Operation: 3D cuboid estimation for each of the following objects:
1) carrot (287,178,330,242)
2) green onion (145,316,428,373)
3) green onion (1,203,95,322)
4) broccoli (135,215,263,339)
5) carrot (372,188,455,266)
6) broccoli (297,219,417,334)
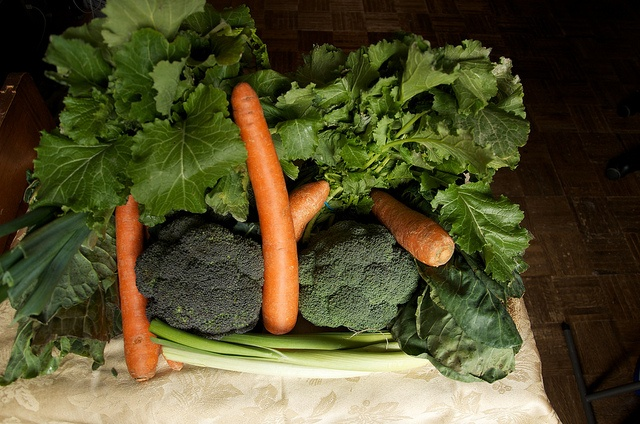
[{"bbox_3d":[-0.050,-0.008,2.241,0.144,0.086,0.257,31,91,23],"label":"carrot"},{"bbox_3d":[-0.137,0.583,2.213,1.119,0.184,0.170,3,92,0],"label":"green onion"},{"bbox_3d":[-1.035,0.176,1.976,0.148,0.222,0.398,24,54,14],"label":"green onion"},{"bbox_3d":[-0.462,0.261,2.132,0.476,0.128,0.463,-6,95,-5],"label":"broccoli"},{"bbox_3d":[0.375,0.064,2.289,0.182,0.163,0.534,-17,31,-20],"label":"carrot"},{"bbox_3d":[0.118,0.242,2.274,0.466,0.137,0.421,-8,94,-3],"label":"broccoli"}]
